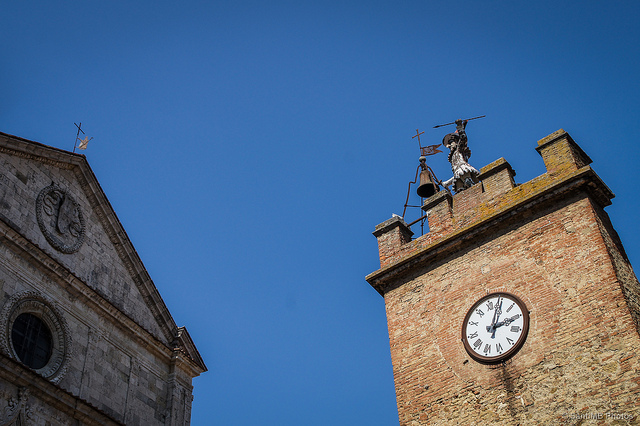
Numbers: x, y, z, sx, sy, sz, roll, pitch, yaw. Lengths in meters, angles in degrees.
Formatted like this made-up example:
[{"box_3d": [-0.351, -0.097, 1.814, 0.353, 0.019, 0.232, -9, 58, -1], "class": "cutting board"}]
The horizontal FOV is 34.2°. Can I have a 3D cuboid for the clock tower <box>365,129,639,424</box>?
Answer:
[{"box_3d": [6.534, 2.968, 33.895, 6.029, 7.467, 4.631, -30, -54, 21], "class": "clock tower"}]
